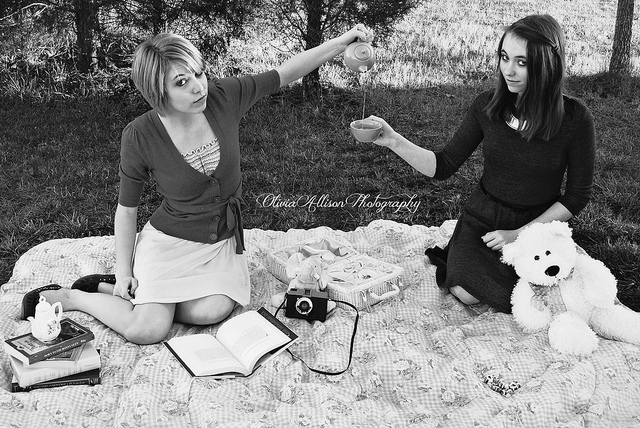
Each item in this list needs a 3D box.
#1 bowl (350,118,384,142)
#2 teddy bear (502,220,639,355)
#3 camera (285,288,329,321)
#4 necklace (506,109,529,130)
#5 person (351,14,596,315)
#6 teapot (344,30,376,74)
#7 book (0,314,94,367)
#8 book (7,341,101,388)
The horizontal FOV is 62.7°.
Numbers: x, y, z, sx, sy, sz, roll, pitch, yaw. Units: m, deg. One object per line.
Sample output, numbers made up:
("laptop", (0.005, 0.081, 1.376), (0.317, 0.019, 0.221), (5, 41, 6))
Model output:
("bowl", (0.298, -0.593, 3.478), (0.172, 0.081, 0.171), (0, 26, 0))
("teddy bear", (1.525, 0.438, 3.192), (0.833, 0.684, 0.401), (9, 28, 20))
("camera", (-0.083, 0.589, 3.439), (0.274, 0.174, 0.109), (4, 27, 11))
("necklace", (1.277, -0.589, 3.405), (0.037, 0.091, 0.177), (-12, 29, -19))
("person", (1.069, -0.339, 3.629), (1.453, 1.852, 0.998), (6, 32, 22))
("teapot", (0.260, -1.048, 3.393), (0.193, 0.251, 0.173), (-1, 26, 2))
("book", (-1.507, 0.733, 2.987), (0.287, 0.065, 0.300), (10, 21, 37))
("book", (-1.450, 0.878, 2.970), (0.257, 0.066, 0.271), (1, 10, 38))
